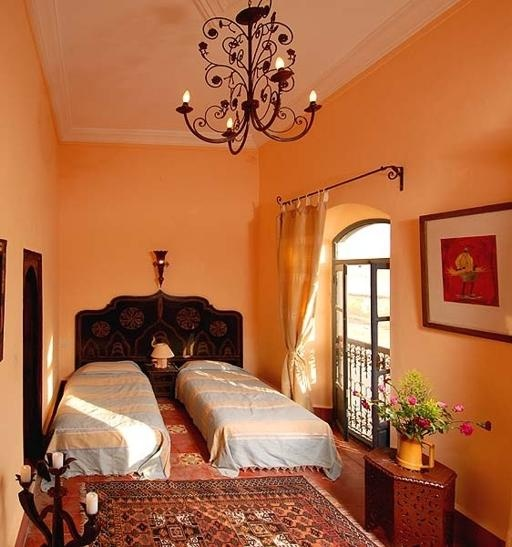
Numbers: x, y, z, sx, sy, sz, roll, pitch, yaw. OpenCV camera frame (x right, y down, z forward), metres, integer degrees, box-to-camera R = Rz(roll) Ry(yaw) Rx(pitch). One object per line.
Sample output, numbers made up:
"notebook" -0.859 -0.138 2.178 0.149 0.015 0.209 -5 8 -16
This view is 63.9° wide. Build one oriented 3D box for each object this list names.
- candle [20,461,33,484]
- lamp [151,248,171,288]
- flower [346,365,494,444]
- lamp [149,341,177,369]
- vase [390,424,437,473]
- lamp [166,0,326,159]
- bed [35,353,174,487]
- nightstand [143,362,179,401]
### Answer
"candle" -0.924 0.809 1.655 0.045 0.079 0.105 4 -4 -29
"lamp" -1.411 -0.057 6.045 0.243 0.567 0.181 3 -4 -10
"flower" 1.026 0.861 2.487 0.508 0.288 0.406 26 -26 0
"lamp" -1.321 1.139 5.848 0.329 0.375 0.338 -2 6 -16
"vase" 0.966 1.080 2.478 0.208 0.200 0.129 3 -6 44
"lamp" -0.067 -1.815 3.795 1.165 1.624 1.102 5 -12 -32
"bed" -1.583 1.400 4.303 1.053 0.610 1.974 4 4 -25
"nightstand" -1.321 1.490 5.732 0.435 0.471 0.422 -1 0 -17
